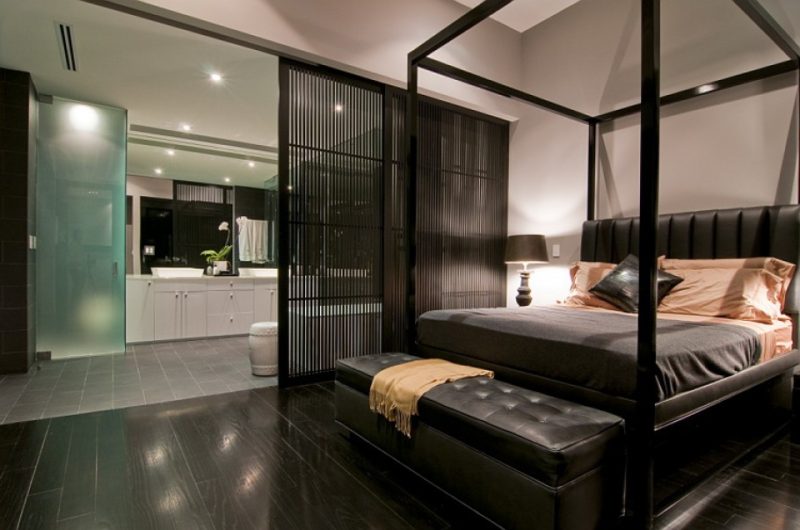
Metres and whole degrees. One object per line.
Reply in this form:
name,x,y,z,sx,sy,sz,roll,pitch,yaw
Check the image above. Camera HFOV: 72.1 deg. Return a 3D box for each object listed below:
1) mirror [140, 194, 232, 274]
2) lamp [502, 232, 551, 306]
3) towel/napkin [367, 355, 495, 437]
mirror,-3.441,-0.474,8.654,1.176,1.308,0.095,5,-9,-41
lamp,1.521,0.111,6.697,0.563,0.909,0.587,1,-5,10
towel/napkin,0.204,1.048,4.566,0.740,0.283,0.580,3,-3,-37
